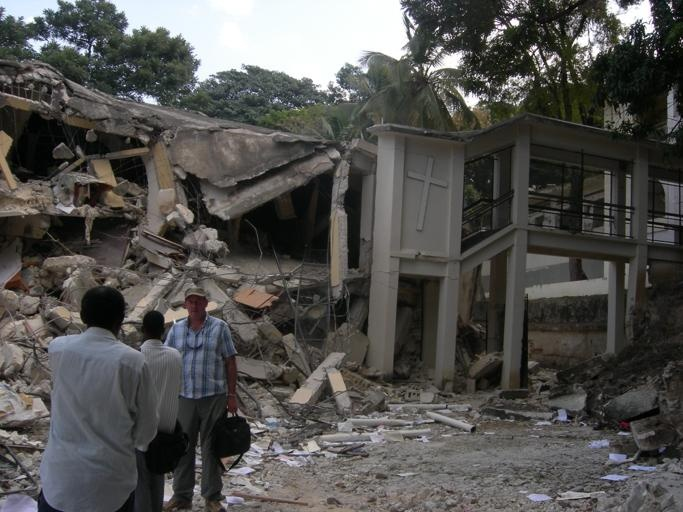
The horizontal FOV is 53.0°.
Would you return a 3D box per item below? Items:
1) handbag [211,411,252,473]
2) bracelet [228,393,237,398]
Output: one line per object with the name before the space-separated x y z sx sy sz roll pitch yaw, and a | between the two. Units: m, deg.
handbag | -1.402 2.349 8.416 0.643 0.790 0.298 2 2 -22
bracelet | -1.320 1.709 8.416 0.111 0.071 0.036 -3 -9 15
